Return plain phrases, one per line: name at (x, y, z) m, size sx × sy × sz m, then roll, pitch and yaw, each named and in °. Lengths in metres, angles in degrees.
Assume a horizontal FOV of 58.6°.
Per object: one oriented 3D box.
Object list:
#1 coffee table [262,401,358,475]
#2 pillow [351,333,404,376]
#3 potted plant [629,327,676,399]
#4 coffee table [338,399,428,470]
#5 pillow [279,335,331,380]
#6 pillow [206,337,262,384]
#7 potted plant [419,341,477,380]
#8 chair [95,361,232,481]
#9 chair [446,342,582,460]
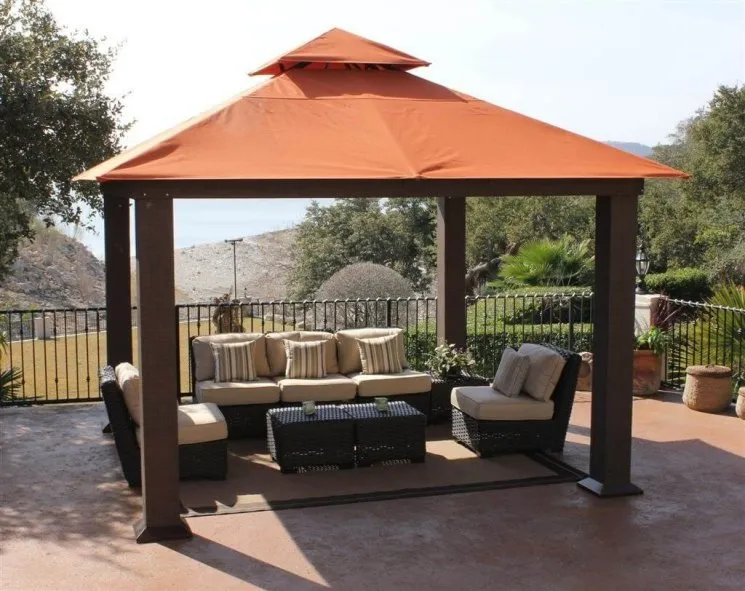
coffee table at (-0.602, 1.462, 6.746) m, size 0.752 × 0.436 × 0.712 m, roll -1°, pitch 3°, yaw -14°
pillow at (0.098, 0.768, 8.546) m, size 0.565 × 0.469 × 0.161 m, roll -5°, pitch -15°, yaw -28°
potted plant at (4.121, 0.979, 9.853) m, size 0.615 × 0.969 × 0.303 m, roll -6°, pitch 11°, yaw -31°
coffee table at (0.115, 1.425, 7.074) m, size 0.716 × 0.393 × 0.665 m, roll -1°, pitch 3°, yaw -13°
pillow at (-0.882, 0.792, 8.329) m, size 0.557 × 0.464 × 0.195 m, roll 1°, pitch -15°, yaw -8°
pillow at (-1.723, 0.812, 8.124) m, size 0.543 × 0.448 × 0.193 m, roll 2°, pitch -30°, yaw -25°
potted plant at (1.024, 0.852, 8.780) m, size 0.552 × 0.360 × 0.559 m, roll 0°, pitch -2°, yaw 7°
chair at (-2.089, 1.217, 6.738) m, size 1.259 × 0.878 × 1.119 m, roll 0°, pitch 5°, yaw -13°
chair at (1.543, 1.134, 7.643) m, size 1.314 × 1.111 × 1.250 m, roll 0°, pitch 1°, yaw -7°
